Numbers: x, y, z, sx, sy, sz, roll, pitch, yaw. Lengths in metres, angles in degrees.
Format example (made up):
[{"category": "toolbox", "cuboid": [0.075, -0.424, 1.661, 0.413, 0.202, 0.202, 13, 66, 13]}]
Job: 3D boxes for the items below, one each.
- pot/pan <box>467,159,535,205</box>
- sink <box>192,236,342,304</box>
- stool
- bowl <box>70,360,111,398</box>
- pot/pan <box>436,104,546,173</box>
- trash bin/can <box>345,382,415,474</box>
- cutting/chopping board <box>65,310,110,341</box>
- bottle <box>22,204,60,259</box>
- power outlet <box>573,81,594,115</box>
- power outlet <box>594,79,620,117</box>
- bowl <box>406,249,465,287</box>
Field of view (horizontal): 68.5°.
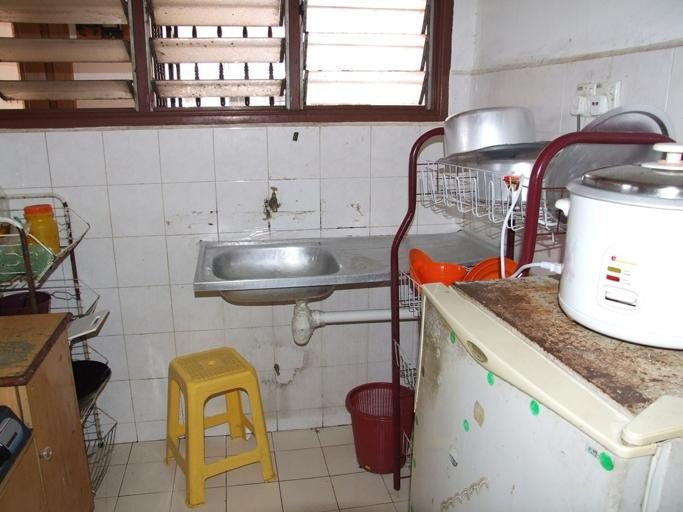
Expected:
[{"category": "pot/pan", "cuboid": [0.496, -0.239, 1.568, 0.145, 0.115, 0.122, 8, 21, 25]}, {"category": "sink", "cuboid": [-0.318, 0.094, 2.193, 0.597, 0.238, 0.592, -5, 14, -11]}, {"category": "stool", "cuboid": [-0.588, 0.710, 2.471, 0.582, 0.746, 0.600, -7, 17, -28]}, {"category": "bowl", "cuboid": [-1.082, 0.526, 2.174, 0.127, 0.090, 0.129, 11, 22, -5]}, {"category": "pot/pan", "cuboid": [0.495, -0.387, 1.676, 0.340, 0.208, 0.316, 3, 15, 20]}, {"category": "trash bin/can", "cuboid": [0.174, 0.783, 2.403, 0.341, 0.297, 0.371, -2, 11, -9]}, {"category": "cutting/chopping board", "cuboid": [-1.076, 0.287, 2.117, 0.150, 0.042, 0.157, -19, 36, 16]}, {"category": "bottle", "cuboid": [-1.218, -0.101, 2.038, 0.107, 0.201, 0.281, -9, 16, -26]}, {"category": "power outlet", "cuboid": [0.825, -0.538, 1.721, 0.035, 0.113, 0.094, -4, 14, -8]}, {"category": "power outlet", "cuboid": [0.864, -0.519, 1.631, 0.023, 0.099, 0.103, -4, 10, -14]}, {"category": "bowl", "cuboid": [0.309, 0.044, 1.691, 0.164, 0.068, 0.121, 19, 36, 36]}]
